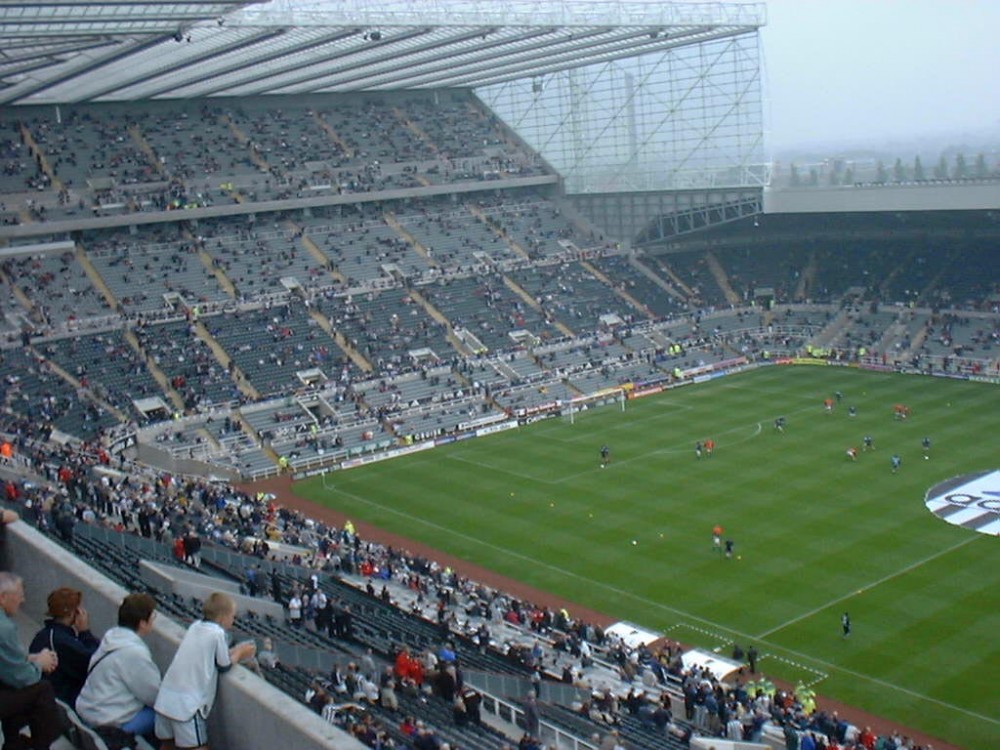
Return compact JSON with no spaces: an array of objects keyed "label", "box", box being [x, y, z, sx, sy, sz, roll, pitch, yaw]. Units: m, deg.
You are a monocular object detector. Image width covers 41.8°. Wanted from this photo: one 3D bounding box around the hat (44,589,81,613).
[{"label":"hat","box":[-11.557,6.064,34.852,0.653,0.767,0.751,18,-57,-9]}]
